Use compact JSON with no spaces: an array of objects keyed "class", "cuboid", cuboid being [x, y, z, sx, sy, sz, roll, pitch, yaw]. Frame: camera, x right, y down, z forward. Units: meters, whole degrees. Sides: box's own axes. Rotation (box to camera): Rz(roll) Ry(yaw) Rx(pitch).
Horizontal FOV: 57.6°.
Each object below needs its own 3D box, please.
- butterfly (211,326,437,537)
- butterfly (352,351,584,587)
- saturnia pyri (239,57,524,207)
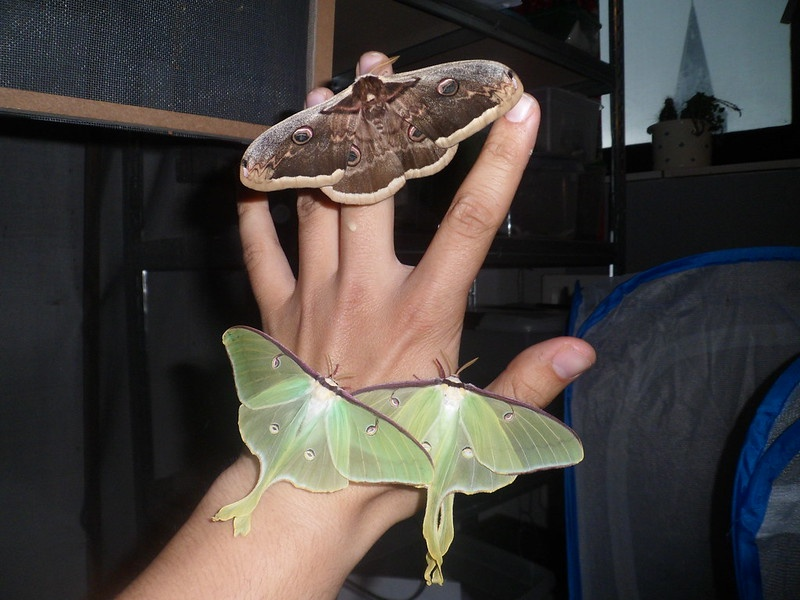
[{"class":"butterfly","cuboid":[-0.106,0.215,1.049,0.314,0.327,0.052,6,8,7]},{"class":"butterfly","cuboid":[0.106,0.258,1.188,0.325,0.315,0.371,4,14,-24]},{"class":"saturnia pyri","cuboid":[-0.028,-0.249,1.065,0.394,0.219,0.068,5,8,0]}]
